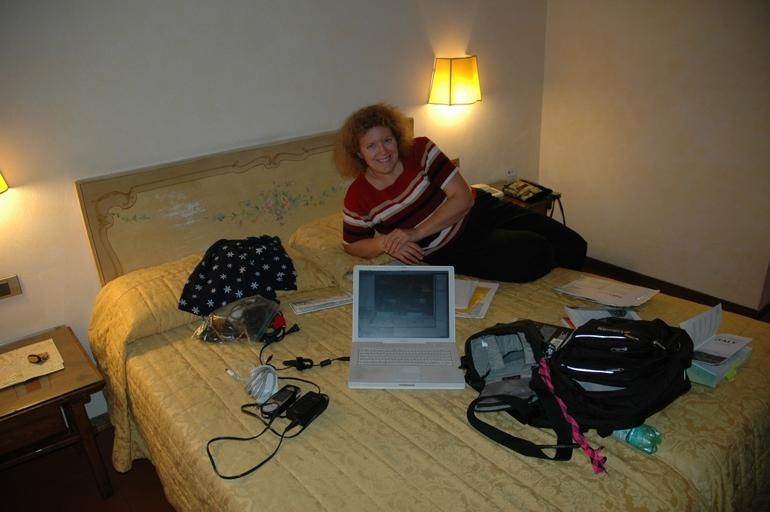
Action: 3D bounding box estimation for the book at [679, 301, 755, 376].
[{"bbox_3d":[1.520,0.397,2.401,0.331,0.204,0.185,-15,25,-29],"label":"book"}]

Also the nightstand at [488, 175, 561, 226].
[{"bbox_3d":[1.191,-0.373,4.355,0.526,0.499,0.378,-23,34,-33],"label":"nightstand"}]

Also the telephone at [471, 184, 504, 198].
[{"bbox_3d":[0.757,-0.481,3.882,0.218,0.051,0.205,-14,26,-32],"label":"telephone"}]

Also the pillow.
[{"bbox_3d":[-0.822,0.110,3.069,1.232,0.213,0.718,-20,40,-26],"label":"pillow"}]

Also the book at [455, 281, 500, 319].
[{"bbox_3d":[0.519,0.252,2.992,0.205,0.019,0.338,-3,30,37],"label":"book"}]

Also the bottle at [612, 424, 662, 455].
[{"bbox_3d":[1.028,0.742,2.140,0.177,0.096,0.069,11,1,19],"label":"bottle"}]

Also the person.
[{"bbox_3d":[0.449,-0.277,3.242,1.609,1.105,0.734,7,46,10],"label":"person"}]

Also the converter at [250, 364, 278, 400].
[{"bbox_3d":[-0.554,0.579,2.367,0.118,0.152,0.058,13,4,-10],"label":"converter"}]

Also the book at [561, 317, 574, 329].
[{"bbox_3d":[0.940,0.338,2.697,0.044,0.015,0.043,10,33,-20],"label":"book"}]

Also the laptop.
[{"bbox_3d":[0.084,0.319,2.519,0.588,0.397,0.636,3,17,8],"label":"laptop"}]

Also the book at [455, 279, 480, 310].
[{"bbox_3d":[0.454,0.210,3.014,0.150,0.035,0.149,0,30,11],"label":"book"}]

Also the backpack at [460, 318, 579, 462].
[{"bbox_3d":[0.565,0.581,2.368,0.409,0.252,0.614,-5,43,0],"label":"backpack"}]

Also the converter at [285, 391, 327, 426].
[{"bbox_3d":[-0.340,0.681,2.345,0.195,0.090,0.095,-19,23,-40],"label":"converter"}]

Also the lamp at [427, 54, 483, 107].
[{"bbox_3d":[0.532,-1.372,4.024,0.346,0.344,0.458,1,25,11],"label":"lamp"}]
